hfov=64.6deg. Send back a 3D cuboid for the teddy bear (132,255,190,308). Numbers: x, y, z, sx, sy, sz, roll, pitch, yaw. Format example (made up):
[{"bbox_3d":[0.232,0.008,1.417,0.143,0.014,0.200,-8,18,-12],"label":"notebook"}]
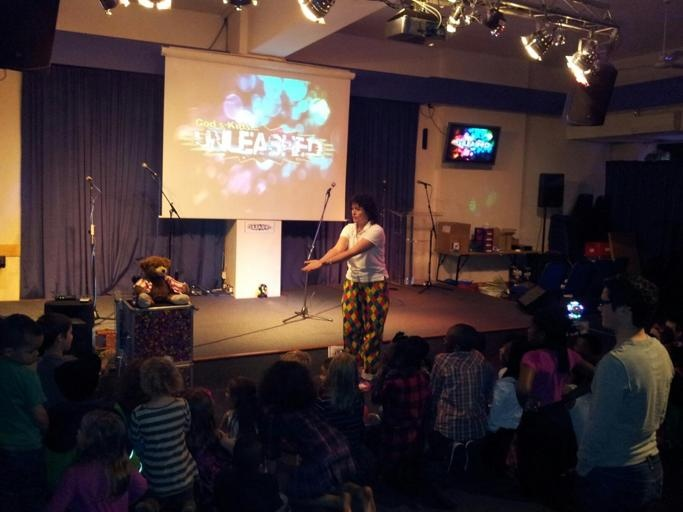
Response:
[{"bbox_3d":[-1.472,0.239,4.447,0.366,0.471,0.445,-8,-8,42],"label":"teddy bear"}]

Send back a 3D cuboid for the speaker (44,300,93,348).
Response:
[{"bbox_3d":[-2.069,0.529,4.127,0.279,0.299,0.512,5,-15,-24],"label":"speaker"}]

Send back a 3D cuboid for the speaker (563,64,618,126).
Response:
[{"bbox_3d":[2.301,-1.478,5.017,0.425,0.403,0.154,2,2,25],"label":"speaker"}]

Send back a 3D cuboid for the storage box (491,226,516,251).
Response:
[{"bbox_3d":[2.709,-0.272,9.296,0.359,0.551,0.413,1,-3,-12],"label":"storage box"}]

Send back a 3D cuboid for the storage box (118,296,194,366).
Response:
[{"bbox_3d":[-1.525,0.544,4.449,0.520,0.588,0.532,1,-1,-29],"label":"storage box"}]

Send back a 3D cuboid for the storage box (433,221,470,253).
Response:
[{"bbox_3d":[1.773,-0.296,8.776,0.582,0.655,0.442,-1,7,-28],"label":"storage box"}]

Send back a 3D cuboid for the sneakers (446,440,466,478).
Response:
[{"bbox_3d":[0.767,1.326,3.593,0.105,0.229,0.077,4,2,-1],"label":"sneakers"}]

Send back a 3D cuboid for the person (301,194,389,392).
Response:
[{"bbox_3d":[0.132,0.263,4.804,0.578,1.576,0.477,2,1,19],"label":"person"}]

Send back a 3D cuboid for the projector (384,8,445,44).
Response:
[{"bbox_3d":[0.643,-2.039,4.877,0.355,0.246,0.328,-1,5,-34],"label":"projector"}]

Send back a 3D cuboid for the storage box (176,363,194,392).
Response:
[{"bbox_3d":[-1.252,0.974,4.348,0.117,0.215,0.265,1,2,-19],"label":"storage box"}]
